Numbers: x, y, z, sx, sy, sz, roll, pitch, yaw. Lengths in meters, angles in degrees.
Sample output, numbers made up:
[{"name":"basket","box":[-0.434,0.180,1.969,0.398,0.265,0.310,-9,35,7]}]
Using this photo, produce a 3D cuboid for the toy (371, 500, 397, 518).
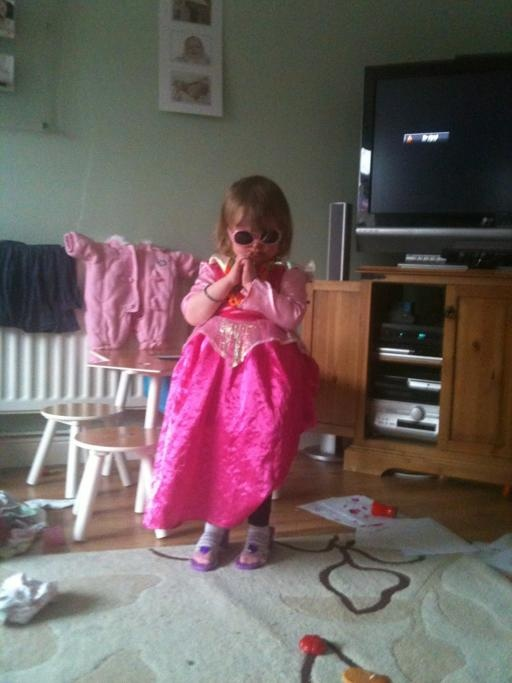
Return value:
[{"name":"toy","box":[0.349,0.453,1.555,0.058,0.034,0.033,16,-5,13]}]

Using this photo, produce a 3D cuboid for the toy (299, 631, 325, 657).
[{"name":"toy","box":[0.093,0.492,0.928,0.047,0.016,0.041,2,3,6]}]

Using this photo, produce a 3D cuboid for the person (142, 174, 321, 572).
[{"name":"person","box":[-0.042,0.052,1.271,0.359,0.846,0.281,2,3,5]}]

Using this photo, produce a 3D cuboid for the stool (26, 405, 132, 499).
[{"name":"stool","box":[-0.495,0.289,1.726,0.296,0.274,0.284,1,2,-35]}]

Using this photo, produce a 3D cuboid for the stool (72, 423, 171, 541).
[{"name":"stool","box":[-0.322,0.327,1.475,0.278,0.257,0.260,6,9,-5]}]
